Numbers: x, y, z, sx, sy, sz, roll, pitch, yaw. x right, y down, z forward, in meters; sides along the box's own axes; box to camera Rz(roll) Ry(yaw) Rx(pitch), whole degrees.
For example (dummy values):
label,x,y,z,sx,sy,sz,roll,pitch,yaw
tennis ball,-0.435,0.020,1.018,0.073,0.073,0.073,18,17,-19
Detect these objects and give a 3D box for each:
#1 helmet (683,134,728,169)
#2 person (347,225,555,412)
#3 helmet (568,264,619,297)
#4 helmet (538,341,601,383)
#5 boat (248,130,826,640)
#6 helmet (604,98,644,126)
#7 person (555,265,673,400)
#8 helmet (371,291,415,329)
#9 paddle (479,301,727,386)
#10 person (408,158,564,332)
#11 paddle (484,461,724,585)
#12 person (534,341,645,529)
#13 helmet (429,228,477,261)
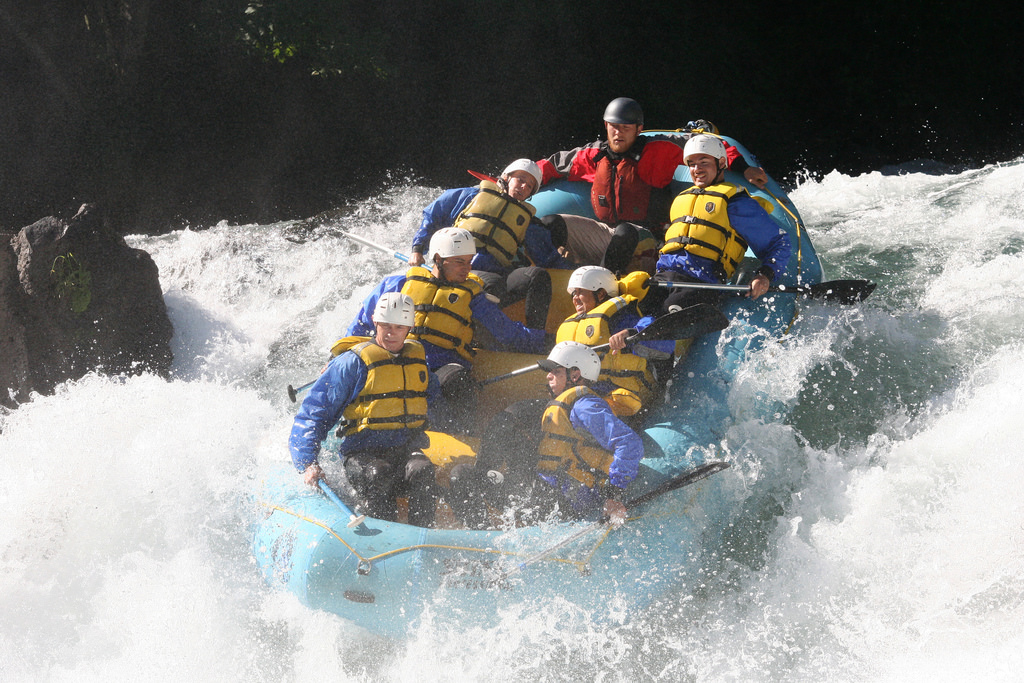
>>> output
label,x,y,z,sx,sy,sz,roll,pitch,yaw
helmet,1.693,-1.650,11.474,0.257,0.254,0.345,0,96,29
person,-0.363,-0.129,11.354,1.316,0.791,1.787,15,32,-10
helmet,0.694,-0.508,11.317,0.327,0.189,0.255,-7,21,8
helmet,0.487,0.191,10.826,0.398,0.292,0.233,-19,91,8
boat,0.295,0.866,10.782,4.911,0.964,2.786,-34,65,-11
helmet,1.031,-2.091,12.153,0.314,0.222,0.279,8,65,9
person,0.889,-0.030,11.159,0.751,0.469,0.998,-36,66,36
helmet,-0.952,-0.248,10.765,0.238,0.248,0.320,8,89,3
paddle,0.837,0.049,11.215,2.000,0.297,0.076,-17,18,14
person,-0.165,-0.712,12.328,1.198,1.487,0.545,24,50,3
paddle,0.709,1.482,10.593,1.578,0.125,0.332,-36,97,-14
person,0.642,0.797,10.698,0.597,0.938,1.580,4,68,-16
helmet,-0.501,-0.832,11.303,0.334,0.209,0.247,17,26,41
